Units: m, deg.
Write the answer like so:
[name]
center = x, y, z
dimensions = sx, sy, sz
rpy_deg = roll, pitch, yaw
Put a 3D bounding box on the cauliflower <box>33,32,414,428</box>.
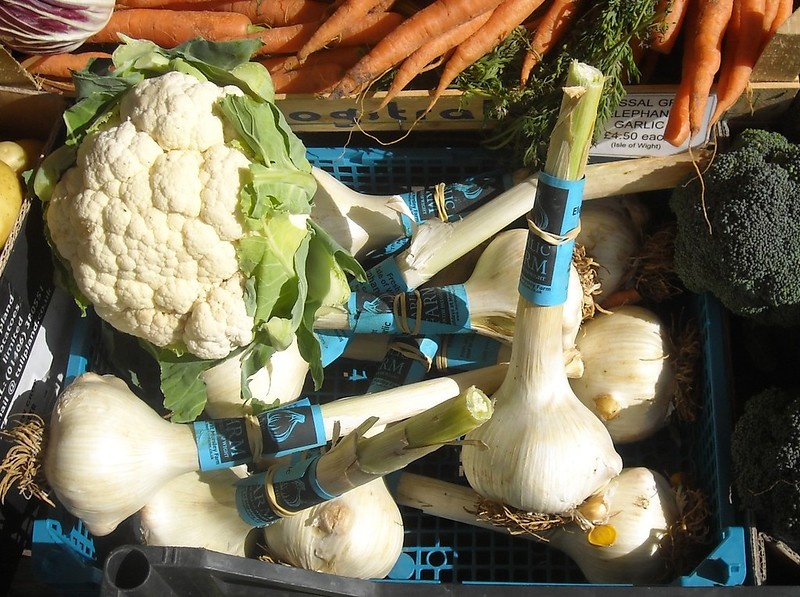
[cauliflower]
center = -0.509, -0.107, 2.119
dimensions = 1.007, 0.460, 0.951
rpy_deg = 5, 79, 5
